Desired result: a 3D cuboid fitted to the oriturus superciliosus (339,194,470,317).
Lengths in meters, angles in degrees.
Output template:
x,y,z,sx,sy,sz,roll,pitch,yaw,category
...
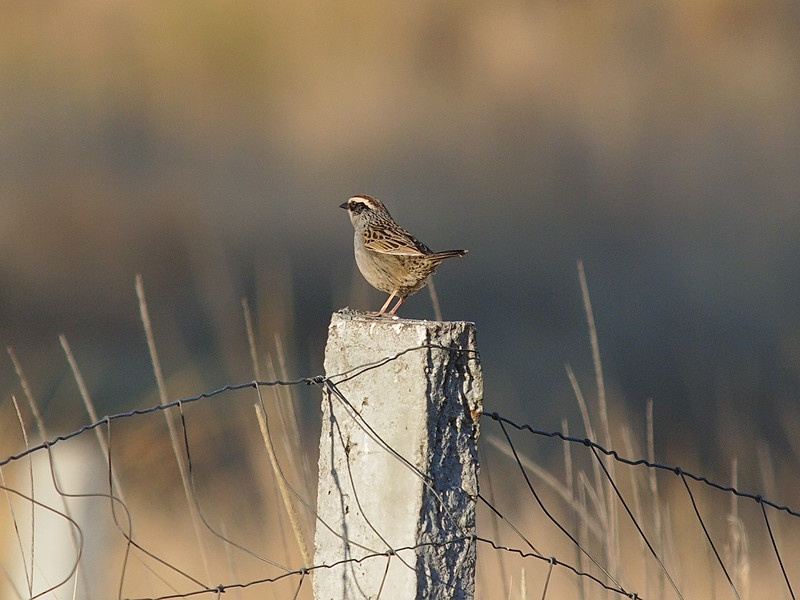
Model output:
x,y,z,sx,sy,sz,roll,pitch,yaw,category
-0.015,-0.338,12.838,1.116,0.506,0.964,3,-90,31,oriturus superciliosus
